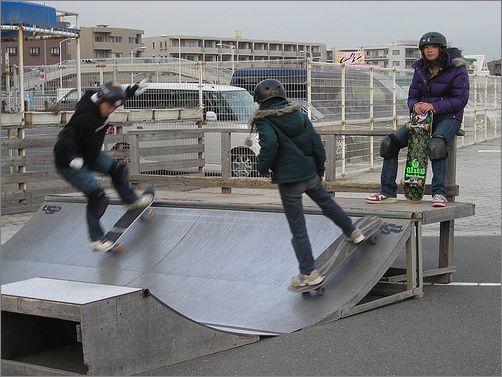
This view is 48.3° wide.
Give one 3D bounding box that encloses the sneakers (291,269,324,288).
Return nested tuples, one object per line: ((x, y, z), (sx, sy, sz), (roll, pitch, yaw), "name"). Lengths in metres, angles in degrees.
((0.569, 0.920, 5.705), (0.335, 0.158, 0.138), (-2, 10, 7), "sneakers")

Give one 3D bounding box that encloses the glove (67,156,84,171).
((-2.074, -0.326, 6.644), (0.146, 0.133, 0.116), (-39, 8, 43), "glove")

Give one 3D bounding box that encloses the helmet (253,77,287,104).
((0.205, -1.017, 5.743), (0.227, 0.254, 0.302), (-4, 19, -13), "helmet")

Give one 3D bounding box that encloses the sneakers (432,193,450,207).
((2.201, 0.142, 6.517), (0.155, 0.130, 0.206), (4, 11, 16), "sneakers")

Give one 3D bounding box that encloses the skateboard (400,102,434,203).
((2.032, -0.416, 6.838), (0.289, 1.273, 0.182), (6, 0, 37), "skateboard")

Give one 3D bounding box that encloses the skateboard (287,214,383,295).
((0.899, 0.721, 5.899), (1.050, 0.154, 0.275), (-47, 33, -17), "skateboard")

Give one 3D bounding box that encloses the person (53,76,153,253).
((-1.858, -0.225, 6.951), (0.621, 2.210, 1.067), (10, 13, 42), "person")

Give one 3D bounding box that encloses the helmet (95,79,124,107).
((-1.658, -1.119, 6.609), (0.290, 0.301, 0.243), (7, 16, 26), "helmet")

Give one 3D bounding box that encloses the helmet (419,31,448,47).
((2.151, -1.769, 6.573), (0.326, 0.191, 0.675), (5, 11, 17), "helmet")

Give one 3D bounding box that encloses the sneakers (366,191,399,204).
((1.634, 0.116, 6.989), (0.382, 0.162, 0.143), (4, -2, 2), "sneakers")

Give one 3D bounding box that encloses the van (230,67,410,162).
((2.185, -2.092, 15.141), (4.285, 2.302, 2.328), (-7, 11, -24), "van")

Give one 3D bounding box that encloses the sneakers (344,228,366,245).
((1.114, 0.517, 5.978), (0.101, 0.101, 0.220), (-25, 3, -9), "sneakers")

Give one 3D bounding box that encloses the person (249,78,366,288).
((0.518, -0.061, 5.781), (1.084, 2.099, 0.688), (1, 10, -1), "person")
